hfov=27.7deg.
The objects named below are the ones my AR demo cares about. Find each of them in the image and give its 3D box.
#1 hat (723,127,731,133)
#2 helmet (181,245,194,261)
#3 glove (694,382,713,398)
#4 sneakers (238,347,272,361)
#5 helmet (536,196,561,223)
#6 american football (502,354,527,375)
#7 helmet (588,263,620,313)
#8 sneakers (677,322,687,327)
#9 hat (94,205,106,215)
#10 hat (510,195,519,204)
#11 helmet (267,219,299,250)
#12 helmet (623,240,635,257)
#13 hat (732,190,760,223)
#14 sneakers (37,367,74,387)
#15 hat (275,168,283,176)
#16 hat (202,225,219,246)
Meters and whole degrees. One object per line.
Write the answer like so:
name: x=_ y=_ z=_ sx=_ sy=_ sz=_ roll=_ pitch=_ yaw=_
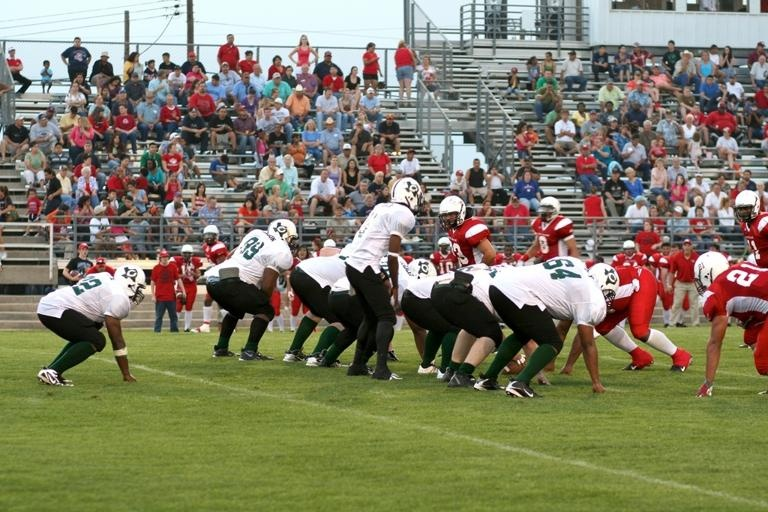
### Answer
hat: x=8.700 y=-3.161 z=39.505 sx=0.139 sy=0.111 sz=0.215 roll=-3 pitch=-18 yaw=43
helmet: x=-4.197 y=-0.054 z=32.901 sx=0.234 sy=0.330 sz=0.448 roll=1 pitch=3 yaw=-10
glove: x=5.007 y=2.148 z=24.347 sx=0.360 sy=0.135 sz=0.106 roll=-35 pitch=22 yaw=32
sneakers: x=-2.247 y=1.736 z=27.210 sx=0.615 sy=0.240 sz=0.217 roll=3 pitch=-1 yaw=-15
helmet: x=2.845 y=-0.800 z=27.116 sx=0.478 sy=0.450 sz=0.384 roll=5 pitch=-2 yaw=-10
american football: x=2.130 y=1.852 z=25.906 sx=0.297 sy=0.146 sz=0.379 roll=-19 pitch=-5 yaw=-38
helmet: x=3.500 y=0.468 z=24.958 sx=0.497 sy=0.653 sz=0.402 roll=1 pitch=3 yaw=1
sneakers: x=6.441 y=1.496 z=33.630 sx=0.163 sy=0.093 sz=0.340 roll=4 pitch=4 yaw=44
hat: x=-6.340 y=-0.993 z=34.563 sx=0.247 sy=0.216 sz=0.141 roll=1 pitch=3 yaw=-11
hat: x=2.997 y=-1.281 z=35.907 sx=0.154 sy=0.197 sz=0.192 roll=-1 pitch=7 yaw=-9
helmet: x=-1.750 y=-0.359 z=27.342 sx=0.543 sy=0.510 sz=0.438 roll=10 pitch=9 yaw=-18
helmet: x=5.120 y=-0.133 z=32.492 sx=0.321 sy=0.405 sz=0.426 roll=-3 pitch=5 yaw=0
hat: x=5.878 y=-0.799 z=25.228 sx=0.402 sy=0.514 sz=0.562 roll=-8 pitch=4 yaw=37
sneakers: x=-5.294 y=1.972 z=24.932 sx=0.647 sy=0.265 sz=0.235 roll=13 pitch=7 yaw=-5
hat: x=-2.411 y=-1.905 z=35.680 sx=0.125 sy=0.171 sz=0.169 roll=-4 pitch=-16 yaw=-37
hat: x=-3.466 y=-0.401 z=31.174 sx=0.408 sy=0.407 sz=0.503 roll=0 pitch=-12 yaw=-6
